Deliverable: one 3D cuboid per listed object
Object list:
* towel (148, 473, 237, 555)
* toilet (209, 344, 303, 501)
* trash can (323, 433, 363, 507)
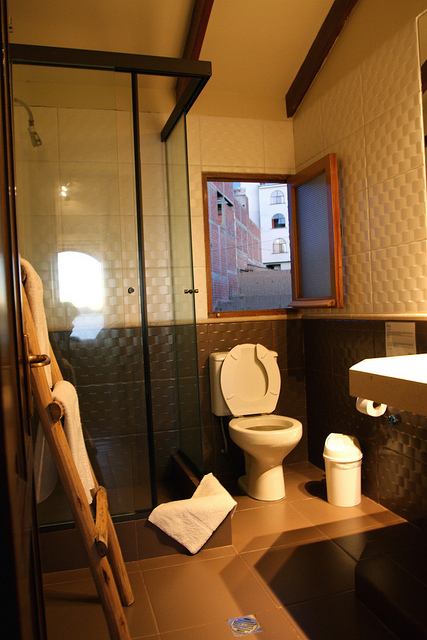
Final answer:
[{"bbox_3d":[-0.080,0.844,2.228,0.323,0.166,0.495,20,11,15],"label":"towel"},{"bbox_3d":[0.242,0.594,2.834,0.434,0.851,0.657,-3,-1,-10],"label":"toilet"},{"bbox_3d":[0.709,0.816,2.597,0.194,0.351,0.214,-3,-5,16],"label":"trash can"}]
